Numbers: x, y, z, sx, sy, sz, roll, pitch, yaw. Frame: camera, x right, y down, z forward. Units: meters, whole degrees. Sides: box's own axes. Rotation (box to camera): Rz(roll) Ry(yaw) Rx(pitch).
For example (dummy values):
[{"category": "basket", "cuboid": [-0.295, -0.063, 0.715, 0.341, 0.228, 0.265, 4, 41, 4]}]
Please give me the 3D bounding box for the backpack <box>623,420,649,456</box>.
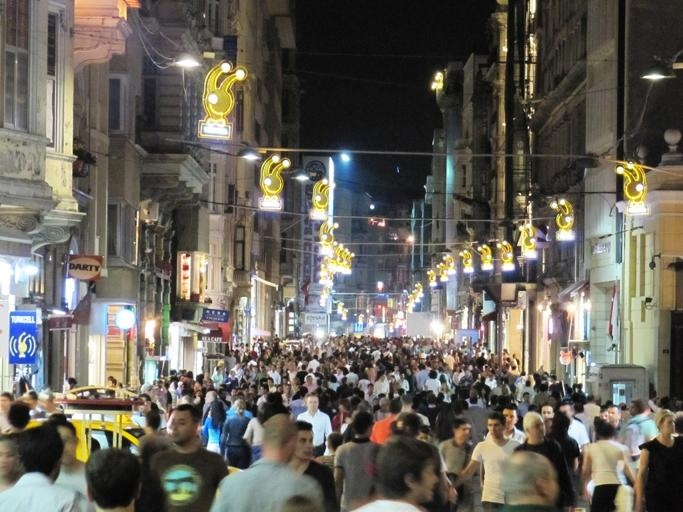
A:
[{"category": "backpack", "cuboid": [4.939, 3.063, 20.858, 0.383, 0.680, 0.493, -3, 7, -21]}]
